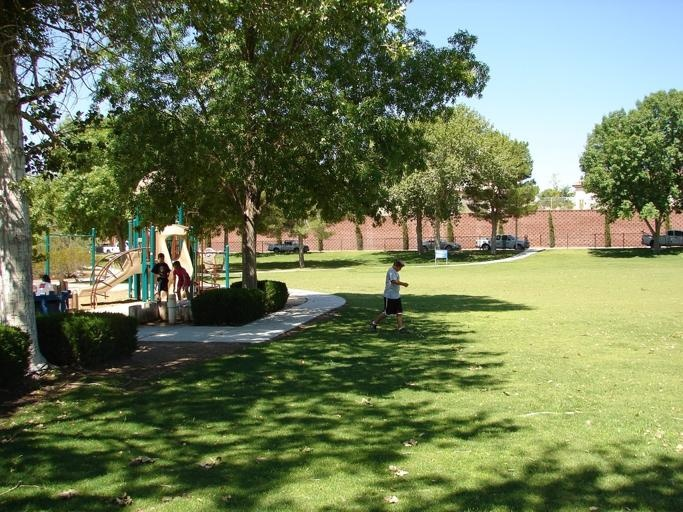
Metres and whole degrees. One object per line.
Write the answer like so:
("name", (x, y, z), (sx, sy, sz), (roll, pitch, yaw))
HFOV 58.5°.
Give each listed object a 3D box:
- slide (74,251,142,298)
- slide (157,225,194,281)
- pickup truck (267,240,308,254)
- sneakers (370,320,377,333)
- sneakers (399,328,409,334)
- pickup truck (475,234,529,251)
("slide", (-8.439, 0.771, 22.172), (2.293, 1.854, 1.472), (-5, 0, -23))
("slide", (-5.888, -0.172, 22.217), (0.878, 1.628, 0.927), (-8, -10, 11))
("pickup truck", (-6.919, -1.071, 72.721), (3.876, 1.397, 3.290), (1, 4, 15))
("sneakers", (0.853, 1.884, 16.029), (0.243, 0.298, 0.680), (2, 0, 1))
("sneakers", (1.563, 1.889, 15.272), (0.267, 0.127, 0.214), (1, 4, 4))
("pickup truck", (16.011, -1.148, 60.804), (4.210, 1.561, 2.023), (-1, -1, 23))
